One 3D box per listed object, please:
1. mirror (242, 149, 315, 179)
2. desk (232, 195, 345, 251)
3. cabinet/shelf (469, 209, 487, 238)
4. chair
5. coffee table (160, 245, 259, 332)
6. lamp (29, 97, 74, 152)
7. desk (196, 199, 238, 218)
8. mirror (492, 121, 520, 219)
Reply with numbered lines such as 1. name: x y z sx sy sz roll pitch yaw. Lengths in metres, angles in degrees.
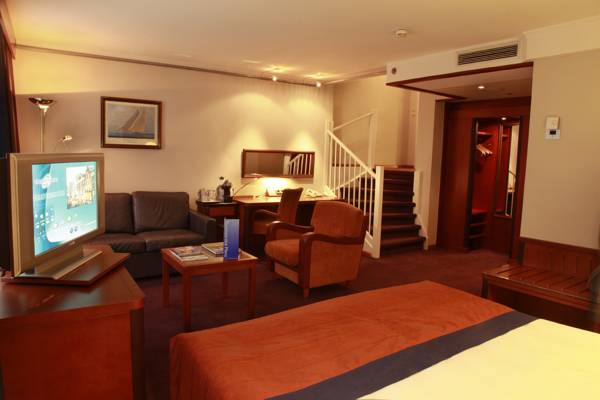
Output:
1. mirror: -0.363 -0.670 7.311 1.446 0.490 0.094 -4 12 -30
2. desk: -0.212 0.328 5.710 0.493 0.522 0.890 -6 11 -42
3. cabinet/shelf: 3.201 0.418 7.306 0.230 0.491 0.595 7 11 28
4. chair: 0.046 0.546 5.340 1.254 1.145 1.151 -2 6 -24
5. coffee table: -0.977 0.767 4.288 0.882 0.615 0.869 -3 6 -35
6. lamp: -3.434 -1.028 5.489 0.285 0.731 0.449 -4 12 -30
7. desk: -1.250 0.055 6.360 0.465 0.426 0.334 -3 9 -29
8. mirror: 3.746 -0.575 7.422 0.326 1.660 0.429 6 11 25
